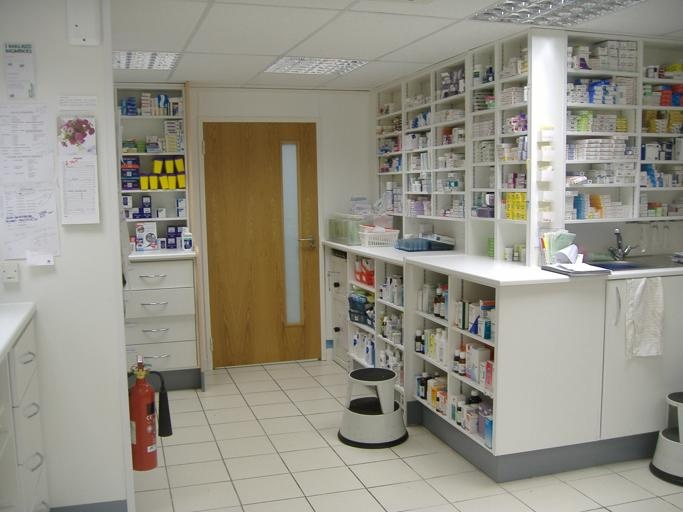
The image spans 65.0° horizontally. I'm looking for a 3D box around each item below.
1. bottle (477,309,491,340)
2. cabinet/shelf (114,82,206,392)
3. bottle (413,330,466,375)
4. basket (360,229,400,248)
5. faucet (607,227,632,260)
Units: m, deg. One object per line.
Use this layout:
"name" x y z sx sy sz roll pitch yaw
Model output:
"bottle" 0.918 0.433 3.418 0.057 0.174 0.111 -2 8 -6
"cabinet/shelf" -1.604 -0.139 4.697 0.686 2.828 1.538 -4 8 -15
"bottle" 0.701 0.662 3.860 0.120 0.180 0.446 2 5 -20
"basket" 0.372 -0.175 5.140 0.276 0.143 0.189 1 3 -6
"faucet" 2.143 -0.096 4.141 0.234 0.225 0.149 -3 5 -12
